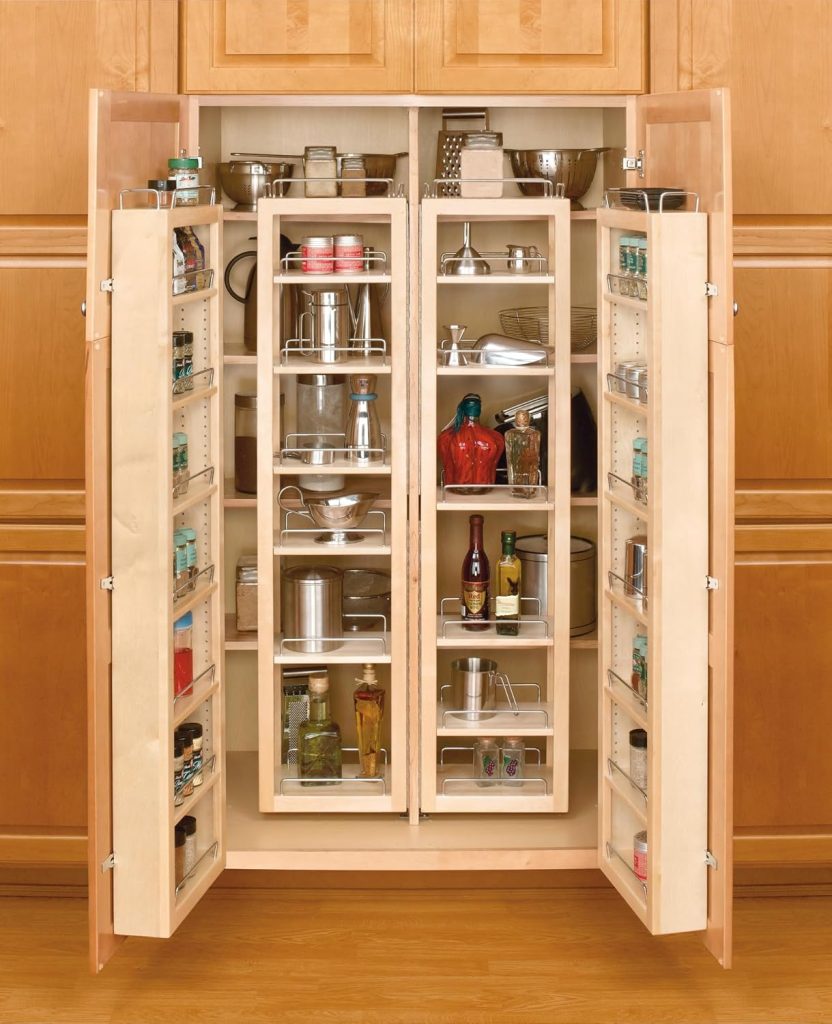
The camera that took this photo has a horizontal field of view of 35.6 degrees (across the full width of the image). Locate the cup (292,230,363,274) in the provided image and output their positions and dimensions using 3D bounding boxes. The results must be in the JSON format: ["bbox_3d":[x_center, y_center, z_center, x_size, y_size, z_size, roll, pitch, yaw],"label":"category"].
[{"bbox_3d":[-0.205,-0.606,3.021,0.115,0.067,0.090,1,8,7],"label":"cup"}]

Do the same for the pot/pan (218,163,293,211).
[{"bbox_3d":[-0.397,-0.798,3.163,0.177,0.106,0.111,4,8,31],"label":"pot/pan"}]

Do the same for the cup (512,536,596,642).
[{"bbox_3d":[0.347,0.176,3.287,0.170,0.222,0.182,13,2,0],"label":"cup"}]

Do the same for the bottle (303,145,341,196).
[{"bbox_3d":[-0.226,-0.818,3.106,0.073,0.145,0.122,0,2,-5],"label":"bottle"}]

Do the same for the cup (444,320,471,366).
[{"bbox_3d":[0.097,-0.397,3.081,0.065,0.100,0.137,0,7,1],"label":"cup"}]

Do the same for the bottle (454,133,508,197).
[{"bbox_3d":[0.153,-0.811,3.050,0.128,0.214,0.137,0,5,0],"label":"bottle"}]

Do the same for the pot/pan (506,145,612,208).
[{"bbox_3d":[0.335,-0.832,3.171,0.230,0.145,0.473,1,7,8],"label":"pot/pan"}]

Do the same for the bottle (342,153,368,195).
[{"bbox_3d":[-0.156,-0.816,3.153,0.055,0.098,0.090,0,4,-2],"label":"bottle"}]

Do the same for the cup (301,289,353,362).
[{"bbox_3d":[-0.228,-0.448,3.100,0.131,0.173,0.168,1,6,6],"label":"cup"}]

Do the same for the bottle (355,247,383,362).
[{"bbox_3d":[-0.114,-0.468,3.146,0.073,0.175,0.079,0,6,0],"label":"bottle"}]
